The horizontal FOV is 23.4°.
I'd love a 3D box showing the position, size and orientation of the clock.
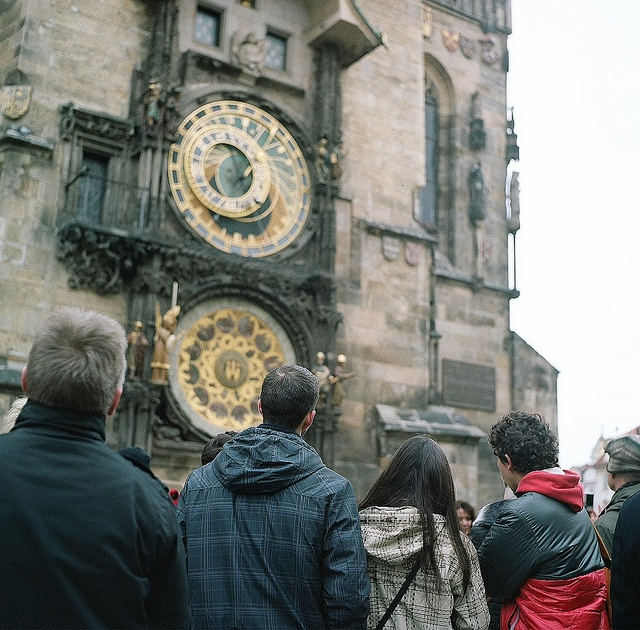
[{"bbox_3d":[-1.001,-1.756,19.354,0.240,2.090,2.166,-12,-21,42],"label":"clock"}]
